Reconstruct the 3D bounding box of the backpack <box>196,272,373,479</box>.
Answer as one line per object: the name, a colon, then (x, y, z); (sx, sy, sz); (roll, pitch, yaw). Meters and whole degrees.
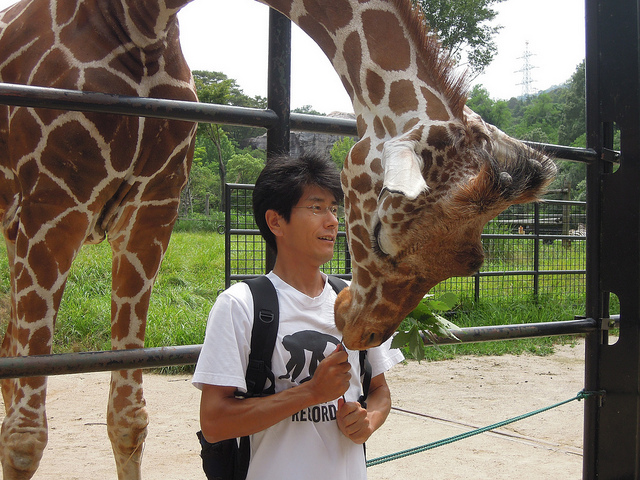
backpack: (-0.160, 0.566, 2.912); (0.690, 0.822, 0.322); (2, -1, -13)
